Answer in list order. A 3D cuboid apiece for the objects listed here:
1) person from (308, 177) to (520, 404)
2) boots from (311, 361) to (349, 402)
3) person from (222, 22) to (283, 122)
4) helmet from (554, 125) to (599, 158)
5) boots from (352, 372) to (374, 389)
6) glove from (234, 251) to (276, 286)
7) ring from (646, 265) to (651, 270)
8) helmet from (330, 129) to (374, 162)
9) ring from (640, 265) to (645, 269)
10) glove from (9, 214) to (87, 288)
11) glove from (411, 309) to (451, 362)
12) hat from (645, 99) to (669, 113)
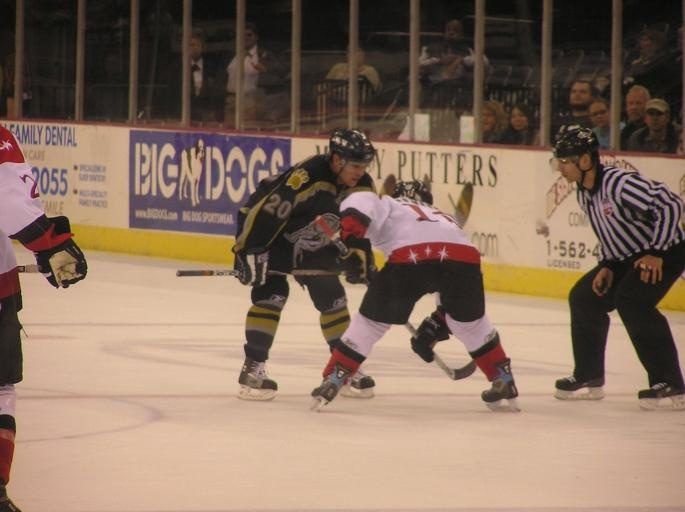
[{"bbox_3d":[0.446,0.191,6.101,1.156,1.486,0.718,8,-21,-25],"label":"person"},{"bbox_3d":[-0.053,0.729,6.017,0.207,0.151,0.343,-18,6,-24],"label":"boots"},{"bbox_3d":[-0.888,-2.000,11.633,0.585,1.137,0.147,8,12,40],"label":"person"},{"bbox_3d":[1.394,-0.692,6.275,0.237,0.232,0.201,7,1,20],"label":"helmet"},{"bbox_3d":[0.106,0.752,6.364,0.129,0.081,0.072,-10,-8,41],"label":"boots"},{"bbox_3d":[-0.544,0.077,6.193,0.203,0.211,0.166,0,9,-6],"label":"glove"},{"bbox_3d":[1.754,0.066,6.047,0.033,0.033,0.020,2,9,8],"label":"ring"},{"bbox_3d":[0.101,-0.631,6.199,0.247,0.192,0.296,-10,19,-26],"label":"helmet"},{"bbox_3d":[1.734,0.062,6.067,0.023,0.022,0.006,16,10,30],"label":"ring"},{"bbox_3d":[-1.229,-0.032,4.528,0.308,0.314,0.144,-32,12,39],"label":"glove"},{"bbox_3d":[0.580,0.481,6.423,0.317,0.242,0.126,-45,-24,26],"label":"glove"},{"bbox_3d":[2.764,-1.326,9.247,0.046,0.121,0.223,-6,11,-37],"label":"hat"}]
